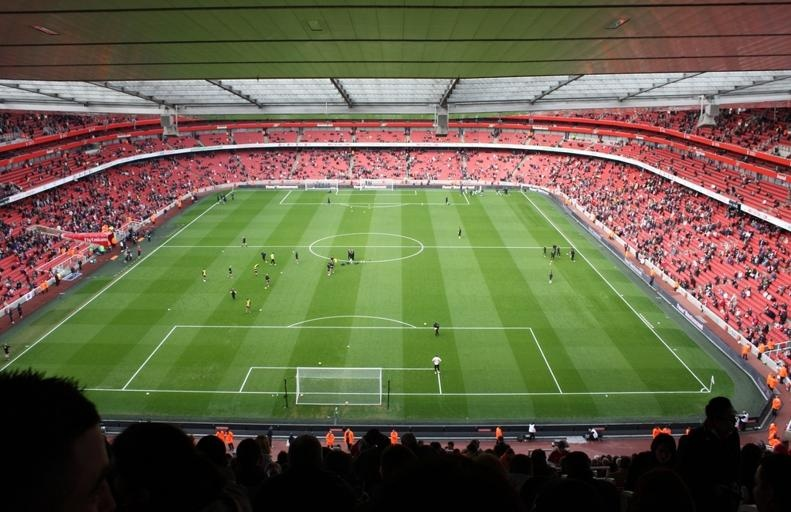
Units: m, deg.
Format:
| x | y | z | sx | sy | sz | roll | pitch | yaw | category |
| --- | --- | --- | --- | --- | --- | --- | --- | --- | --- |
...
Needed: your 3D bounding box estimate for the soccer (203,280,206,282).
| x | y | z | sx | sy | sz | roll | pitch | yaw | category |
| --- | --- | --- | --- | --- | --- | --- | --- | --- | --- |
| -13.765 | 1.791 | 35.122 | 0.134 | 0.347 | 0.126 | -4 | -85 | -39 | soccer |
